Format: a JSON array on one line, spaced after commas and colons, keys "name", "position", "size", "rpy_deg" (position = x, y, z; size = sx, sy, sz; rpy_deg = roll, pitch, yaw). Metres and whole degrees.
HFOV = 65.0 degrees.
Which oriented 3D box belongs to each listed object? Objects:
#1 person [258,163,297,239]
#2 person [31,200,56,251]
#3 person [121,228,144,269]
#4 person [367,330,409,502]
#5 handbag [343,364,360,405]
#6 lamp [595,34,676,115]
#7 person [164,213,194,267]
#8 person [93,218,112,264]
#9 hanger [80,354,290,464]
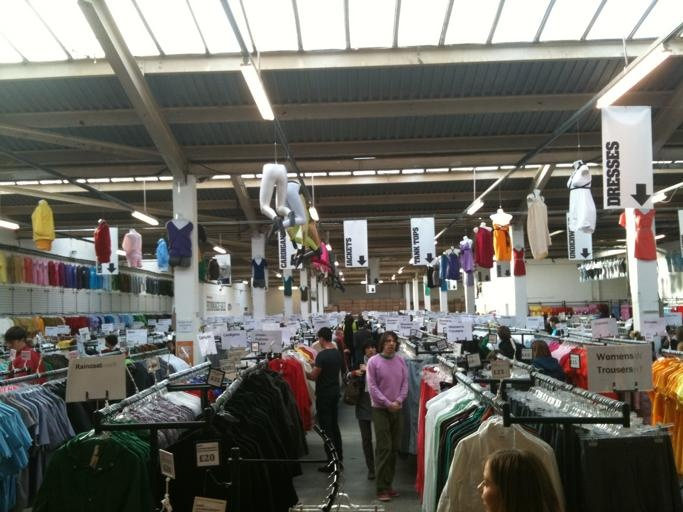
[{"name": "person", "position": [-0.820, -0.785, 6.925], "size": [0.425, 1.079, 0.994], "rpy_deg": [-2, -7, -6]}, {"name": "person", "position": [-6.277, -0.698, 11.307], "size": [0.387, 1.231, 1.419], "rpy_deg": [1, -9, -29]}, {"name": "person", "position": [-4.772, -0.215, 12.224], "size": [0.336, 0.980, 0.896], "rpy_deg": [1, -8, -26]}, {"name": "person", "position": [0.510, 1.718, 5.897], "size": [0.491, 1.754, 0.348], "rpy_deg": [4, -10, -42]}, {"name": "handbag", "position": [0.151, 1.666, 6.447], "size": [0.198, 0.493, 0.369], "rpy_deg": [2, -40, 4]}, {"name": "lamp", "position": [3.810, -2.313, 6.920], "size": [0.171, 1.288, 0.117], "rpy_deg": [38, -9, 2]}, {"name": "person", "position": [-3.365, -0.305, 11.250], "size": [0.525, 1.065, 0.258], "rpy_deg": [0, -8, -18]}, {"name": "person", "position": [-5.562, -0.396, 12.551], "size": [0.321, 1.135, 1.094], "rpy_deg": [0, -8, -23]}, {"name": "hanger", "position": [-1.217, 1.126, 4.284], "size": [0.786, 0.442, 1.570], "rpy_deg": [-4, -8, 3]}]
